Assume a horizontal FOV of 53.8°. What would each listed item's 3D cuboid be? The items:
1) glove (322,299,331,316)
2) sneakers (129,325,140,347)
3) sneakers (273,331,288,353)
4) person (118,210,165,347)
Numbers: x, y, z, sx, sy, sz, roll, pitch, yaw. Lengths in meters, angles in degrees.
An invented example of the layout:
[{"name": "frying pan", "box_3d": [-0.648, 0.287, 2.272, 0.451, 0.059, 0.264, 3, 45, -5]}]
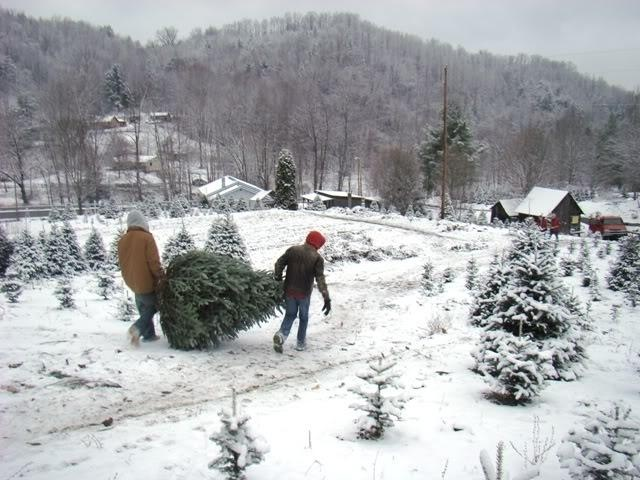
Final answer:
[{"name": "glove", "box_3d": [0.159, 1.853, 17.423, 0.255, 0.495, 0.191, -1, -9, 15]}, {"name": "sneakers", "box_3d": [-4.833, 2.478, 16.454, 0.259, 0.561, 0.216, -19, 10, -41]}, {"name": "sneakers", "box_3d": [-1.118, 2.759, 17.226, 0.235, 0.625, 0.264, 4, 15, 26]}, {"name": "person", "box_3d": [-4.741, 0.962, 16.753, 1.038, 3.467, 0.644, 5, 8, 15]}]
